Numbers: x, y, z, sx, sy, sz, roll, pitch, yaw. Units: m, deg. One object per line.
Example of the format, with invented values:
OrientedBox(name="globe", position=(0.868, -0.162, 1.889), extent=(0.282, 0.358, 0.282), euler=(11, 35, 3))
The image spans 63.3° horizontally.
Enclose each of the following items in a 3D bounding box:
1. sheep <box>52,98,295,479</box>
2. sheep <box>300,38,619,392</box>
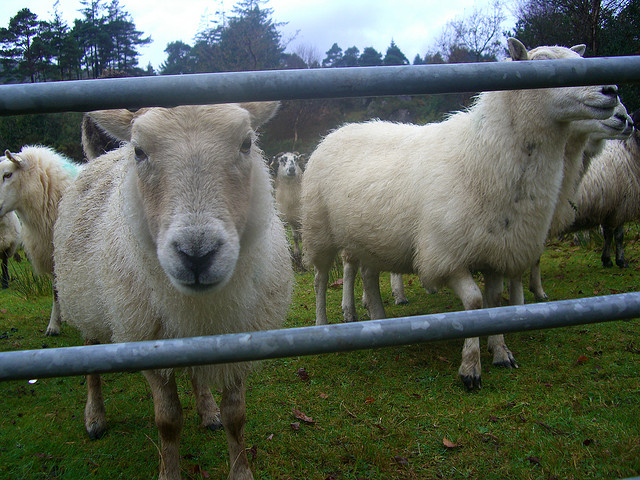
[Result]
OrientedBox(name="sheep", position=(-1.048, 0.064, 4.503), extent=(1.377, 2.398, 3.081), euler=(-2, 1, -22))
OrientedBox(name="sheep", position=(1.190, -0.174, 5.332), extent=(3.062, 2.509, 0.941), euler=(8, 15, 44))
